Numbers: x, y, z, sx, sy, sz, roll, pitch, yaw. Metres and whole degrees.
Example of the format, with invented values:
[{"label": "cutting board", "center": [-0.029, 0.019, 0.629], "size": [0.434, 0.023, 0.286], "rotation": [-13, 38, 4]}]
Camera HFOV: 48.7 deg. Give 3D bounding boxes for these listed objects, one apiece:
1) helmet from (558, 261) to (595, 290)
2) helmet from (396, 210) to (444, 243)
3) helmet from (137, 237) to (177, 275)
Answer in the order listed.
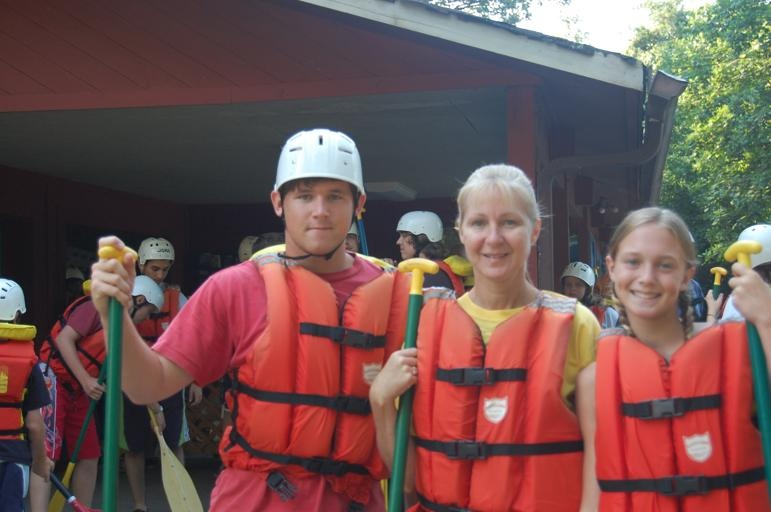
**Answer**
[{"label": "helmet", "center": [2.490, 0.185, 11.045], "size": [0.282, 0.459, 0.352], "rotation": [-3, 33, 37]}, {"label": "helmet", "center": [0.421, -0.389, 10.407], "size": [0.428, 0.299, 0.376], "rotation": [-2, 4, -12]}, {"label": "helmet", "center": [-2.826, 0.001, 10.551], "size": [0.404, 0.572, 0.489], "rotation": [2, 0, -22]}]
